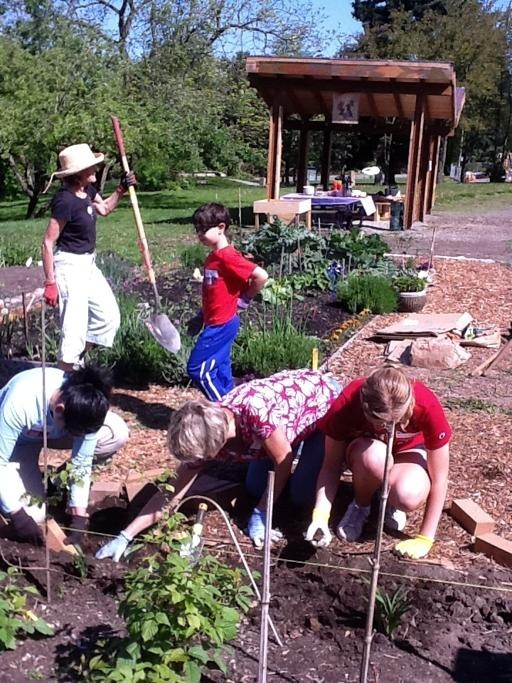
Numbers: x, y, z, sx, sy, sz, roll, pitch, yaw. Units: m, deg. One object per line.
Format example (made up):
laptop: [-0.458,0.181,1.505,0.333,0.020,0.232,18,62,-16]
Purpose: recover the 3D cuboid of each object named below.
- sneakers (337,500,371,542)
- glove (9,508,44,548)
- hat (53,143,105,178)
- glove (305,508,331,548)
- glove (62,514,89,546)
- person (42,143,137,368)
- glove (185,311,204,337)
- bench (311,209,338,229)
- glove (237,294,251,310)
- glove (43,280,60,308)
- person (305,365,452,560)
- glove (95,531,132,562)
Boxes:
sneakers: [0.419,0.771,2.351,0.075,0.083,0.212,18,23,13]
glove: [-0.914,0.720,2.211,0.052,0.155,0.118,-38,11,-39]
hat: [-1.060,-1.179,3.464,0.265,0.108,0.293,-7,23,45]
glove: [0.241,0.725,2.140,0.140,0.135,0.058,4,-26,16]
glove: [-0.744,0.748,2.288,0.092,0.155,0.063,8,-11,2]
person: [-1.174,-0.530,3.599,0.324,1.418,0.468,7,15,16]
glove: [-0.398,-0.126,3.747,0.103,0.179,0.061,7,-25,34]
bench: [1.603,-2.817,12.798,0.597,0.421,0.893,4,14,7]
glove: [-0.081,-0.248,3.540,0.095,0.086,0.070,-1,16,16]
glove: [-1.329,-0.299,3.573,0.081,0.182,0.216,-3,15,-20]
person: [0.565,0.368,2.392,0.572,0.809,0.806,8,26,22]
glove: [-0.568,0.807,2.180,0.106,0.107,0.087,8,15,21]
